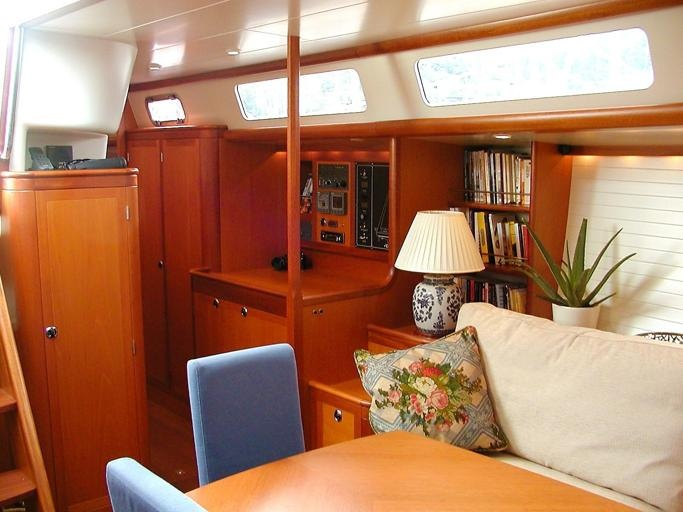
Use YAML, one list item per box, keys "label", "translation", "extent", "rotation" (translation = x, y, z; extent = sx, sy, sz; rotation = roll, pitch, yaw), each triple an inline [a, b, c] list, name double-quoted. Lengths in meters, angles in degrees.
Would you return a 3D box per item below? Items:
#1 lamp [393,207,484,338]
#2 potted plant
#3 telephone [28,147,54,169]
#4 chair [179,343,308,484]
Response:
- label: "lamp"
  translation: [0.582, 0.112, 3.063]
  extent: [0.554, 0.687, 0.563]
  rotation: [2, 2, 10]
- label: "potted plant"
  translation: [1.239, 0.081, 3.011]
  extent: [0.595, 0.661, 0.624]
  rotation: [0, 0, -1]
- label: "telephone"
  translation: [-1.768, -0.577, 2.979]
  extent: [0.086, 0.128, 0.129]
  rotation: [9, 14, 39]
- label: "chair"
  translation: [-0.403, 0.728, 2.086]
  extent: [0.452, 0.729, 0.445]
  rotation: [-8, 2, -19]
